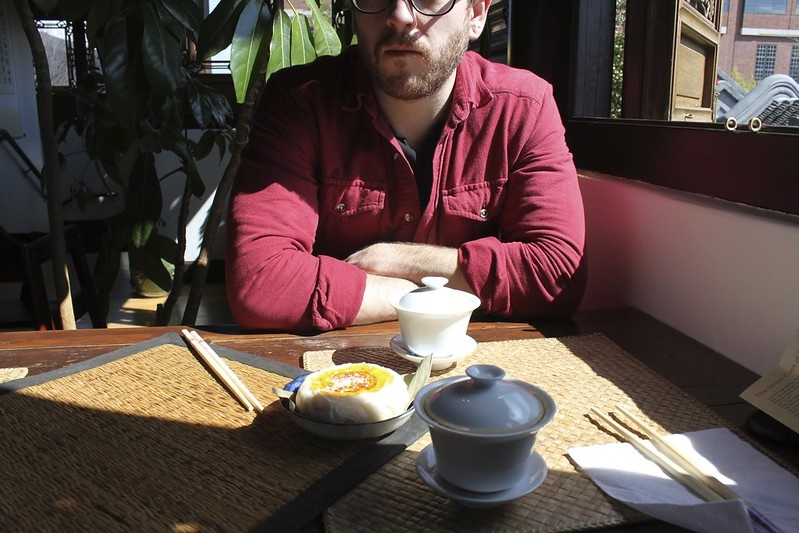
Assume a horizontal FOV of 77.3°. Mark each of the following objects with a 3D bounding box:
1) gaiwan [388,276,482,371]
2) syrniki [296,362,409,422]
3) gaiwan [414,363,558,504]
[{"bbox_3d":[0.078,0.114,1.110,0.187,0.191,0.197,-3,14,-11],"label":"gaiwan"},{"bbox_3d":[-0.090,0.235,0.911,0.195,0.057,0.219,2,3,17],"label":"syrniki"},{"bbox_3d":[0.114,0.223,0.675,0.173,0.157,0.185,1,16,3],"label":"gaiwan"}]
